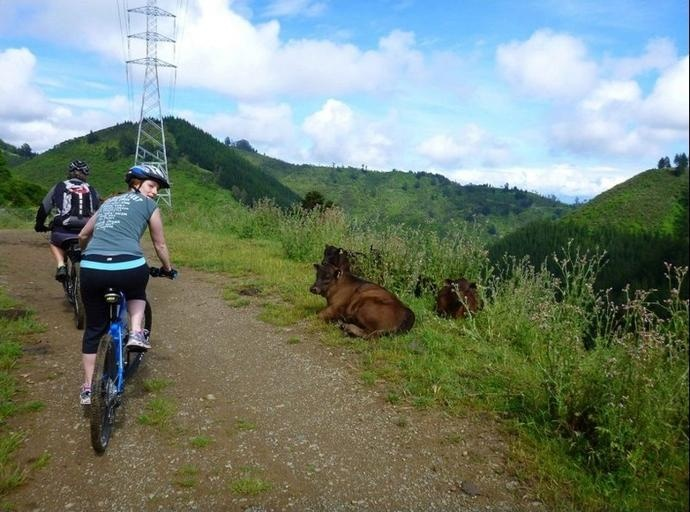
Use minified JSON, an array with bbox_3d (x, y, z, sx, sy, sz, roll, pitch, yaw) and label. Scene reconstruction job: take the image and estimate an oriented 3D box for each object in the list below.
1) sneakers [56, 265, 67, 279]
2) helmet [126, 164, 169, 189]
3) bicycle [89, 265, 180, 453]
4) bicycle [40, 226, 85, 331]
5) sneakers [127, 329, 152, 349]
[{"bbox_3d":[-4.971,0.294,8.696,0.154,0.284,0.246,3,5,-30],"label":"sneakers"},{"bbox_3d":[-2.678,-1.097,6.708,0.455,0.263,0.368,-1,-14,-13],"label":"helmet"},{"bbox_3d":[-2.810,1.448,6.569,1.014,1.384,2.182,-2,35,-6],"label":"bicycle"},{"bbox_3d":[-5.141,0.470,9.040,0.785,1.737,1.058,-3,-32,-29],"label":"bicycle"},{"bbox_3d":[-2.696,1.107,6.543,0.207,0.267,0.558,-1,-11,-2],"label":"sneakers"}]
